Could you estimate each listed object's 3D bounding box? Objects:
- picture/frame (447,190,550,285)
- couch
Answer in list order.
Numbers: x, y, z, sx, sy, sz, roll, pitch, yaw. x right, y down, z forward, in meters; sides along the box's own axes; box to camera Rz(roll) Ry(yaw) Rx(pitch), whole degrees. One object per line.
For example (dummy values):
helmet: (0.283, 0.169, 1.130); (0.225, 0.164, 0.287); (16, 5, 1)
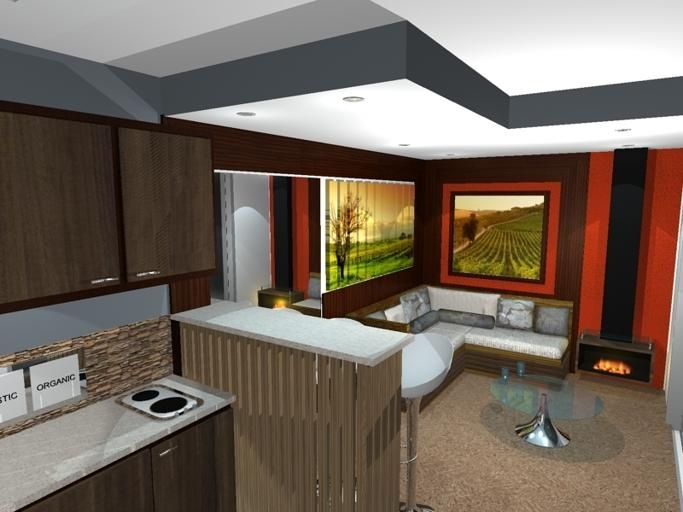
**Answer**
picture/frame: (2.360, -0.286, 6.228); (1.464, 1.331, 0.065); (4, 6, 31)
couch: (1.975, 1.147, 5.860); (1.757, 0.690, 1.777); (0, 1, 36)
